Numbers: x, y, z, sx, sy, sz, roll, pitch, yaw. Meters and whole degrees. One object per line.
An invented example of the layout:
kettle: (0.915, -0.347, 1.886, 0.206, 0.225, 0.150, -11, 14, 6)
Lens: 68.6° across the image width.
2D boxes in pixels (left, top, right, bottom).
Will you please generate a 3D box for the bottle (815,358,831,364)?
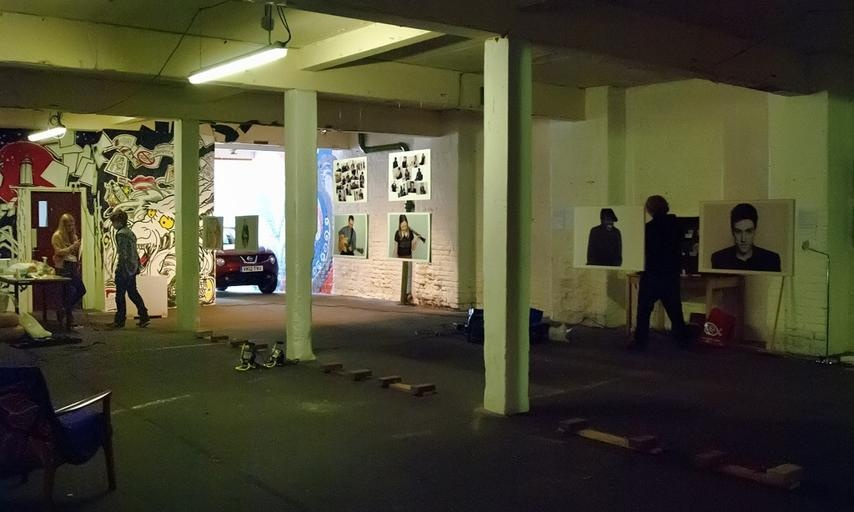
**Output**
bottle: (6.505, 1.746, 10.283, 0.109, 0.046, 0.151, -1, 1, 4)

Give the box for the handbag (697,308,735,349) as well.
handbag: (5.223, 1.340, 11.289, 0.553, 0.651, 0.284, 14, -4, 33)

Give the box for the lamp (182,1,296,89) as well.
lamp: (-2.615, -3.093, 9.105, 1.381, 0.984, 1.952, -6, 12, -28)

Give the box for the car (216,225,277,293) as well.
car: (-5.144, 0.158, 17.759, 1.597, 1.061, 2.559, 0, -6, -29)

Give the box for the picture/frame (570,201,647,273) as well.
picture/frame: (3.434, -0.340, 11.717, 1.476, 1.238, 0.163, 4, 3, 43)

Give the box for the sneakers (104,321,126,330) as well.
sneakers: (-6.681, 1.508, 13.370, 0.474, 0.188, 0.184, 3, -2, -7)
